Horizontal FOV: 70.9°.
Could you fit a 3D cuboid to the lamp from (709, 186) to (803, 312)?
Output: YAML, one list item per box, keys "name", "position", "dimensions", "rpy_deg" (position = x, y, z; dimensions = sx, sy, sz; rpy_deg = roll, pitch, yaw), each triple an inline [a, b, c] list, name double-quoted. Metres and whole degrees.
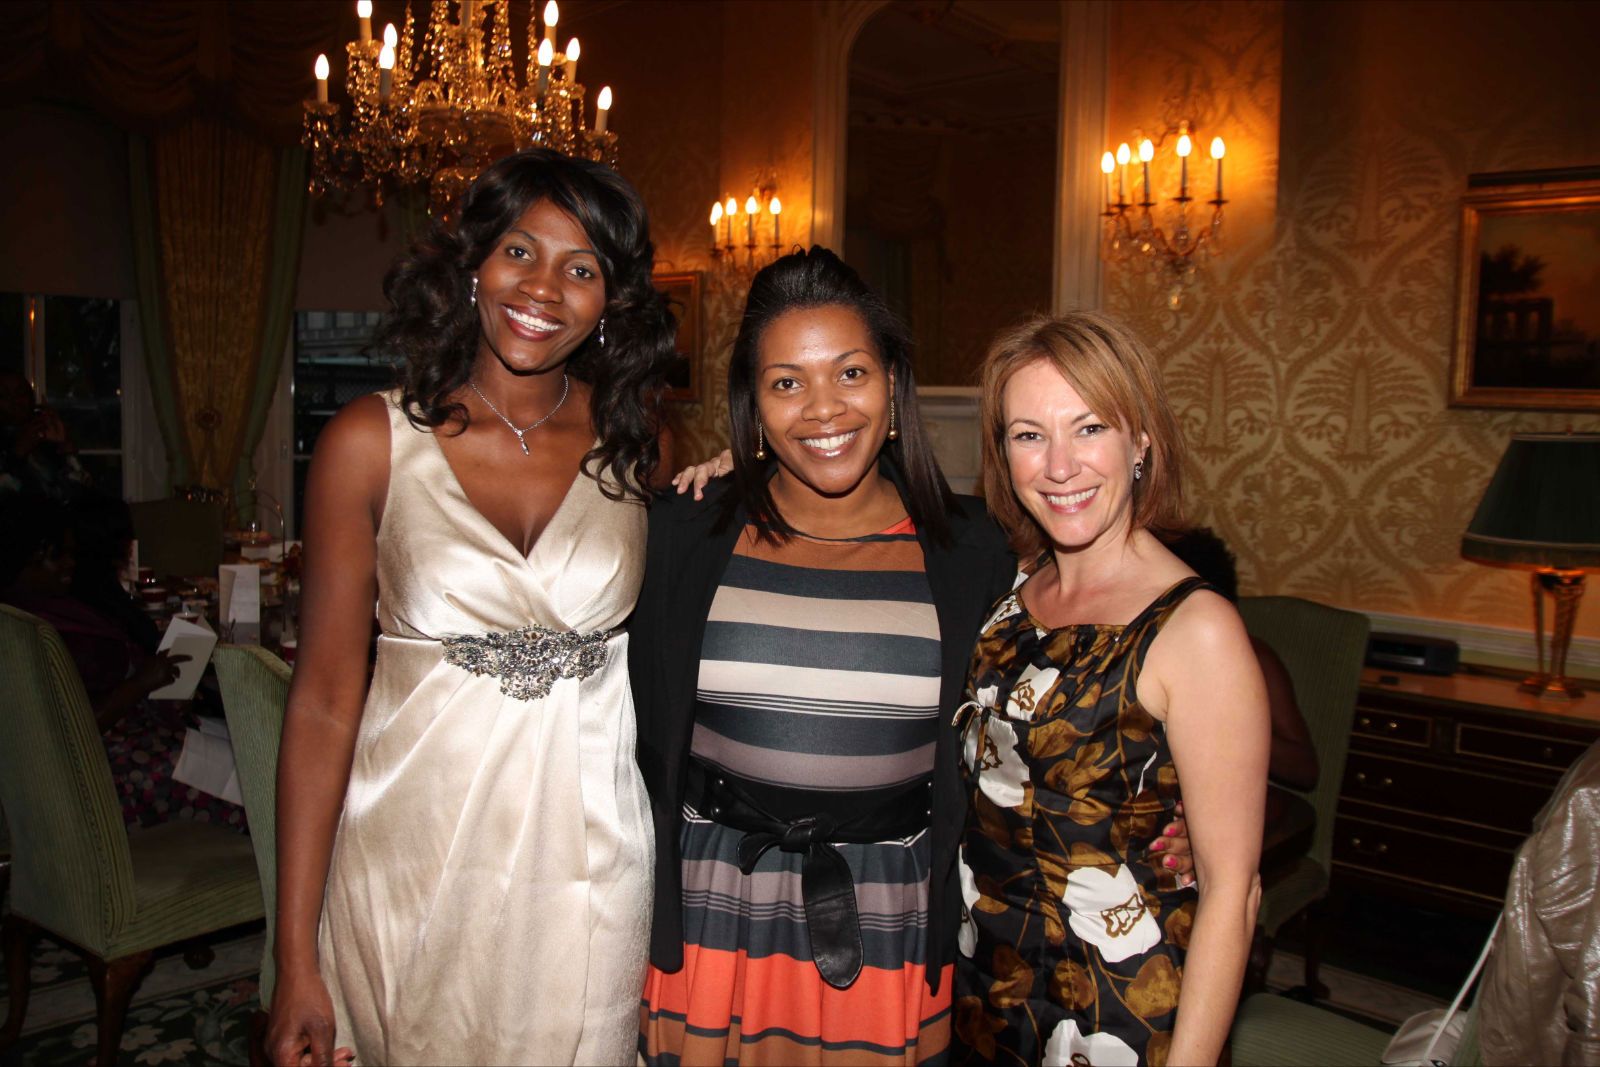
- name: "lamp"
  position: [-0.302, -1.826, 7.288]
  dimensions: [0.639, 0.682, 0.215]
  rpy_deg: [-1, 0, 0]

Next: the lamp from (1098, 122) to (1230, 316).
- name: "lamp"
  position: [1.818, -1.625, 5.736]
  dimensions: [0.664, 0.957, 0.315]
  rpy_deg: [6, 9, 23]
